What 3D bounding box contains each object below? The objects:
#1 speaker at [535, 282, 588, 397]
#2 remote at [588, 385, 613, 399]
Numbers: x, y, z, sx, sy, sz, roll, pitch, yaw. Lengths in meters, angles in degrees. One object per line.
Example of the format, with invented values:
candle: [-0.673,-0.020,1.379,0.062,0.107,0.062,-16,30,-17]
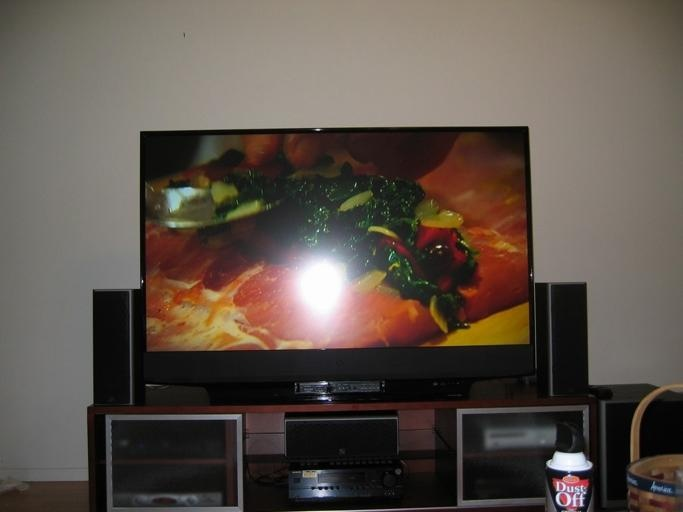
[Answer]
speaker: [1.222,0.456,3.774,0.270,0.624,0.131,-2,-7,13]
remote: [1.435,0.755,3.775,0.062,0.027,0.121,1,7,14]
